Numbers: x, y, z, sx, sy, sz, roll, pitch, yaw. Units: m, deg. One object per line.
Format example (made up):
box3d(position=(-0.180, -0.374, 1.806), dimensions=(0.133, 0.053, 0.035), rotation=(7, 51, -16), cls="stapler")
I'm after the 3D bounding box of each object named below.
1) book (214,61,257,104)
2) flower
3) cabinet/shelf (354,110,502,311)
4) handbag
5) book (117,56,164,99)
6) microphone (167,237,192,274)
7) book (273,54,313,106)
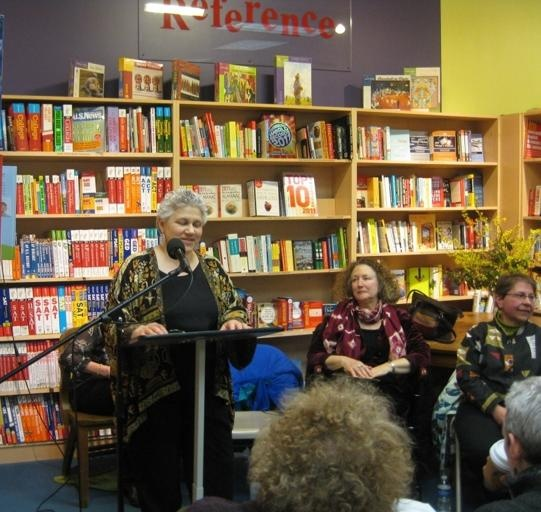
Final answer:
box3d(position=(-0.251, -1.226, 3.794), dimensions=(0.378, 0.325, 0.119), rotation=(0, -1, -24), cls="book")
box3d(position=(1.626, -0.090, 4.094), dimensions=(0.729, 0.813, 0.754), rotation=(2, 8, 38), cls="flower")
box3d(position=(1.210, -0.371, 4.164), dimensions=(1.661, 1.460, 0.486), rotation=(0, -2, -16), cls="cabinet/shelf")
box3d(position=(0.982, 0.371, 3.200), dimensions=(0.113, 0.150, 0.210), rotation=(14, 6, -41), cls="handbag")
box3d(position=(-0.883, -1.203, 3.612), dimensions=(0.369, 0.329, 0.127), rotation=(-1, 5, -34), cls="book")
box3d(position=(-0.336, -0.009, 1.941), dimensions=(0.056, 0.054, 0.189), rotation=(-18, 49, -30), cls="microphone")
box3d(position=(0.173, -1.280, 3.903), dimensions=(0.294, 0.361, 0.069), rotation=(-5, 6, -18), cls="book")
